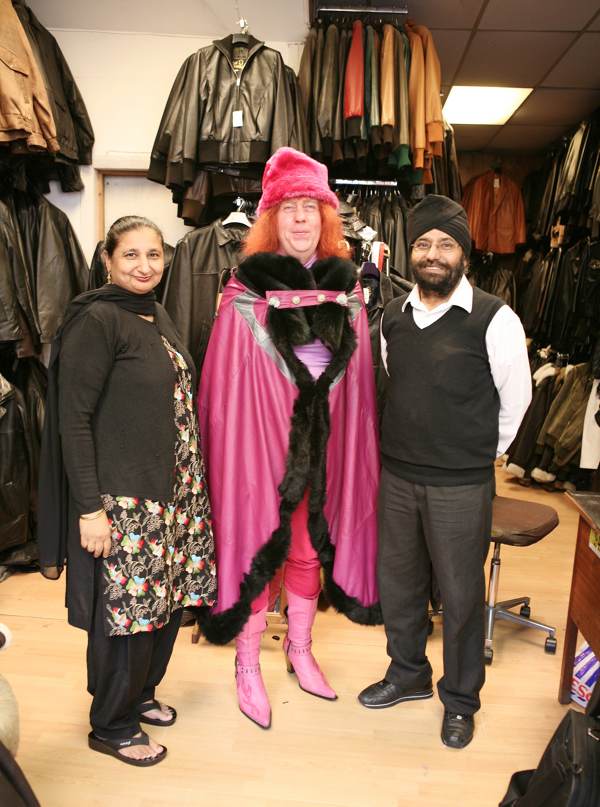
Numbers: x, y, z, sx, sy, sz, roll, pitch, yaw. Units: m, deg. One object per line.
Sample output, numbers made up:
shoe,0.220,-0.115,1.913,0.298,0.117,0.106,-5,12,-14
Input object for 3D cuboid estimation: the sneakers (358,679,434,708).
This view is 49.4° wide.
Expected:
sneakers,0.303,0.904,2.088,0.231,0.101,0.085,1,-1,-13

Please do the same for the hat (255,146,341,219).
hat,-0.013,-0.614,1.845,0.150,0.129,0.201,-3,4,5

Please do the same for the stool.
stool,0.758,0.636,2.639,0.529,0.545,0.583,2,41,12

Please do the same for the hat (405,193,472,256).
hat,0.396,-0.507,1.874,0.161,0.172,0.172,-4,13,10

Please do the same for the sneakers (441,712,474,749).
sneakers,0.454,0.925,1.852,0.047,0.054,0.134,0,-6,11

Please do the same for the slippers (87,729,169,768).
slippers,-0.469,0.902,1.720,0.152,0.055,0.087,5,-2,11

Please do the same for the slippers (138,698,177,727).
slippers,-0.412,0.895,1.895,0.108,0.039,0.056,-1,4,-35

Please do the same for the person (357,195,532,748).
person,0.408,0.189,1.888,0.449,1.539,0.259,5,6,29

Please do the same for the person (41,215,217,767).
person,-0.427,0.242,1.691,0.268,1.414,0.435,5,6,28
